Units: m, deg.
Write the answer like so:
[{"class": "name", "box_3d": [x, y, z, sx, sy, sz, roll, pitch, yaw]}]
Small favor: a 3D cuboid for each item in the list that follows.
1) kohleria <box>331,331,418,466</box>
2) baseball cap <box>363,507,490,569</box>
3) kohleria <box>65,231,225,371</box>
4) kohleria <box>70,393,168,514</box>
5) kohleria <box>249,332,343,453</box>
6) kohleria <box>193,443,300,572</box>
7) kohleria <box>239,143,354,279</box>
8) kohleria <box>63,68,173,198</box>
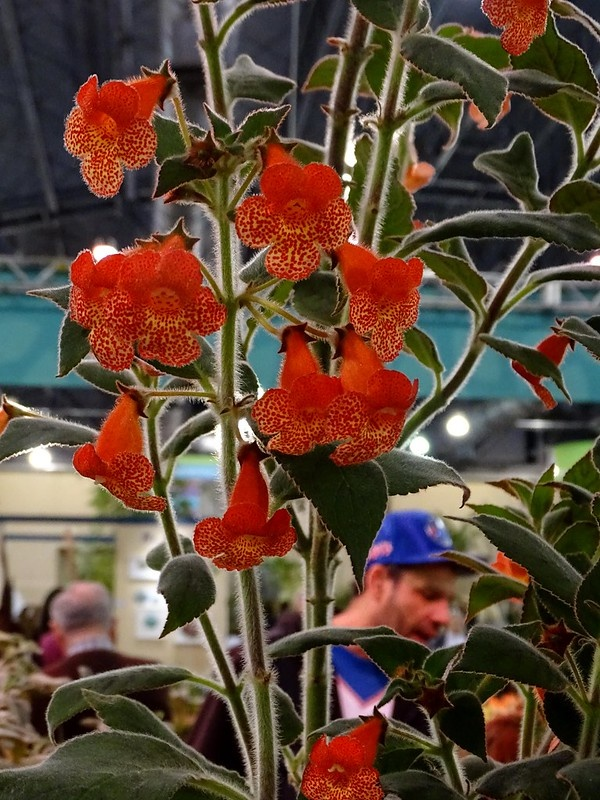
[{"class": "kohleria", "box_3d": [0.067, -0.004, 1.050, 0.077, 0.126, 0.080, 0, 2, 4]}, {"class": "baseball cap", "box_3d": [0.277, 0.346, 2.843, 0.369, 0.154, 0.237, -9, -9, 25]}, {"class": "kohleria", "box_3d": [-0.147, -0.093, 1.089, 0.140, 0.129, 0.139, 0, 1, -10]}, {"class": "kohleria", "box_3d": [-0.165, 0.034, 1.097, 0.087, 0.091, 0.062, 16, 14, -3]}, {"class": "kohleria", "box_3d": [-0.012, -0.001, 1.062, 0.094, 0.092, 0.094, 6, 36, -12]}, {"class": "kohleria", "box_3d": [-0.059, 0.106, 1.089, 0.103, 0.127, 0.084, -1, 2, -30]}, {"class": "kohleria", "box_3d": [-0.003, -0.166, 1.016, 0.098, 0.112, 0.035, -20, 15, -6]}, {"class": "kohleria", "box_3d": [-0.184, -0.265, 1.163, 0.108, 0.134, 0.143, -1, 1, -11]}]
